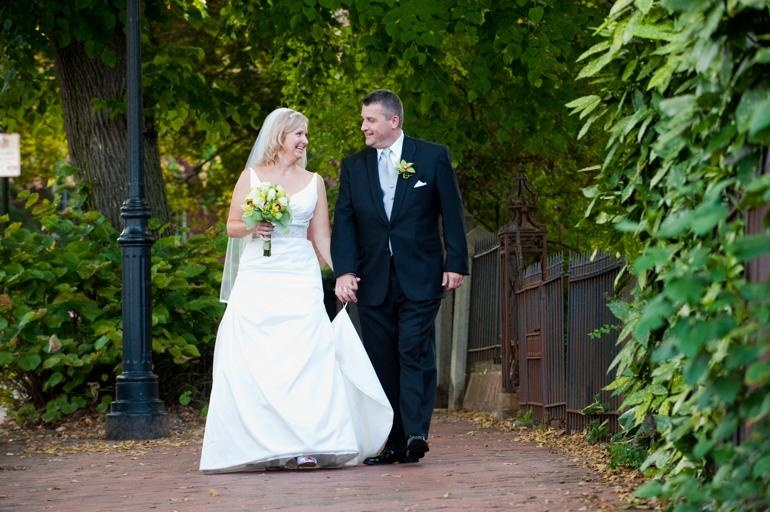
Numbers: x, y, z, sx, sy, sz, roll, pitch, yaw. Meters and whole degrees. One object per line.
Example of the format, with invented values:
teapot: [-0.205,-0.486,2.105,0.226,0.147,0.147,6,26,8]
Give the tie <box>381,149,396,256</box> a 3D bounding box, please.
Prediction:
tie: [0.027,-0.469,8.420,0.139,0.833,0.095,-2,-6,13]

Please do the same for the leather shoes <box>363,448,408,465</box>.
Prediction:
leather shoes: [0.001,1.671,8.372,0.359,0.143,0.129,4,-8,-15]

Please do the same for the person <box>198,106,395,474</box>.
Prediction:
person: [-0.799,0.220,8.377,1.446,3.023,0.750,-1,-2,-5]

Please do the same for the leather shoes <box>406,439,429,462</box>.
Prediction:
leather shoes: [0.247,1.574,8.163,0.124,0.126,0.283,1,-31,-7]
